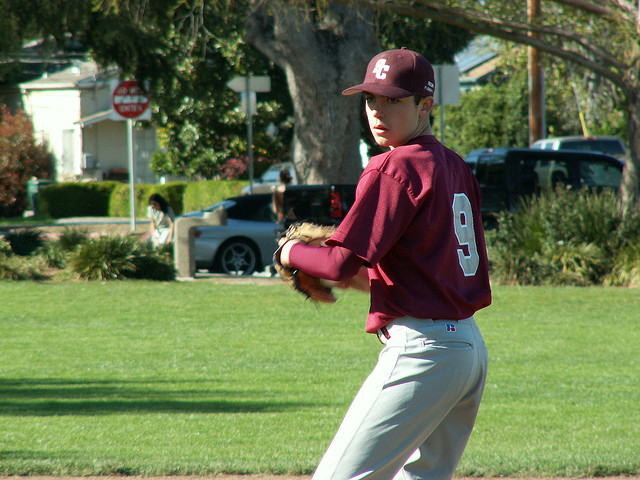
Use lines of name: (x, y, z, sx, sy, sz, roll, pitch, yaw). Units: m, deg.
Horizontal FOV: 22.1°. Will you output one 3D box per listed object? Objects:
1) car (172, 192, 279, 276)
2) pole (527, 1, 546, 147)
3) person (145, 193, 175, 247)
car: (-1.931, -0.133, 38.633, 1.779, 1.860, 0.717, 0, 1, -3)
pole: (5.606, -4.016, 42.771, 0.516, 4.950, 0.415, 9, 14, 36)
person: (-3.709, -0.443, 38.184, 0.590, 1.189, 1.686, 0, 1, -6)
